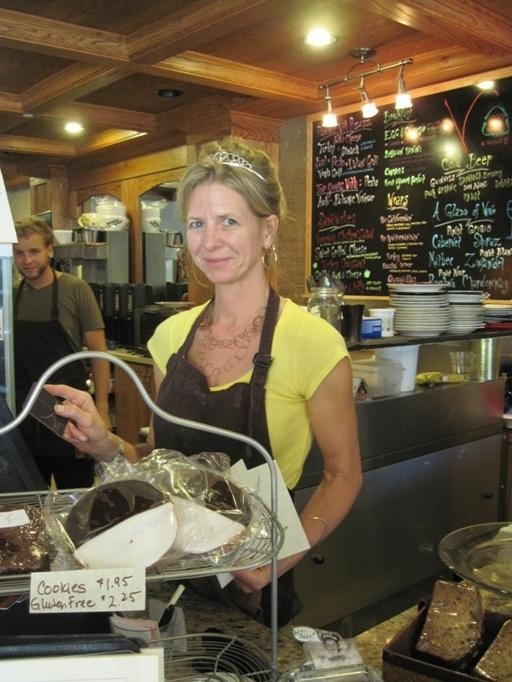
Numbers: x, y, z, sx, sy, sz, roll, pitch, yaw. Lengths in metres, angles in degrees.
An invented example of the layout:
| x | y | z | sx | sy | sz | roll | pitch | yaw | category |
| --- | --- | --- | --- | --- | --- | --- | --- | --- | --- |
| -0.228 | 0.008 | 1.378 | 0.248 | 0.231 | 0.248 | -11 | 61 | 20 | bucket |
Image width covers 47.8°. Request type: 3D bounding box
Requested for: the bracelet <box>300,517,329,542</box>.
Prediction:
| x | y | z | sx | sy | sz | roll | pitch | yaw | category |
| --- | --- | --- | --- | --- | --- | --- | --- | --- | --- |
| 0.102 | 0.329 | 1.014 | 0.039 | 0.041 | 0.050 | 8 | -12 | 3 | bracelet |

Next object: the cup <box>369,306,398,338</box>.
| x | y | z | sx | sy | sz | roll | pitch | yaw | category |
| --- | --- | --- | --- | --- | --- | --- | --- | --- | --- |
| 0.556 | -0.086 | 2.539 | 0.133 | 0.113 | 0.124 | -1 | 1 | 0 | cup |

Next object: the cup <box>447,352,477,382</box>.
| x | y | z | sx | sy | sz | roll | pitch | yaw | category |
| --- | --- | --- | --- | --- | --- | --- | --- | --- | --- |
| 1.005 | 0.132 | 2.814 | 0.159 | 0.147 | 0.150 | 0 | -6 | 0 | cup |

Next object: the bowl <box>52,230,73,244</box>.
| x | y | z | sx | sy | sz | roll | pitch | yaw | category |
| --- | --- | --- | --- | --- | --- | --- | --- | --- | --- |
| -1.913 | -1.034 | 5.799 | 0.214 | 0.131 | 0.200 | 0 | 12 | 0 | bowl |

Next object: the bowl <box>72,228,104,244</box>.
| x | y | z | sx | sy | sz | roll | pitch | yaw | category |
| --- | --- | --- | --- | --- | --- | --- | --- | --- | --- |
| -1.567 | -0.971 | 5.469 | 0.236 | 0.093 | 0.219 | 2 | 3 | 0 | bowl |

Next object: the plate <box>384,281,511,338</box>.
| x | y | z | sx | sy | sz | roll | pitch | yaw | category |
| --- | --- | --- | --- | --- | --- | --- | --- | --- | --- |
| 0.871 | -0.146 | 2.667 | 0.501 | 0.242 | 0.348 | 1 | 11 | -6 | plate |

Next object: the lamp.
| x | y | z | sx | sy | sz | roll | pitch | yaw | category |
| --- | --- | --- | --- | --- | --- | --- | --- | --- | --- |
| 0.626 | -1.479 | 3.356 | 0.630 | 0.352 | 0.166 | 5 | 18 | 44 | lamp |

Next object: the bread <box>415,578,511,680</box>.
| x | y | z | sx | sy | sz | roll | pitch | yaw | category |
| --- | --- | --- | --- | --- | --- | --- | --- | --- | --- |
| 0.307 | 0.414 | 0.832 | 0.124 | 0.055 | 0.173 | 7 | 12 | 25 | bread |
